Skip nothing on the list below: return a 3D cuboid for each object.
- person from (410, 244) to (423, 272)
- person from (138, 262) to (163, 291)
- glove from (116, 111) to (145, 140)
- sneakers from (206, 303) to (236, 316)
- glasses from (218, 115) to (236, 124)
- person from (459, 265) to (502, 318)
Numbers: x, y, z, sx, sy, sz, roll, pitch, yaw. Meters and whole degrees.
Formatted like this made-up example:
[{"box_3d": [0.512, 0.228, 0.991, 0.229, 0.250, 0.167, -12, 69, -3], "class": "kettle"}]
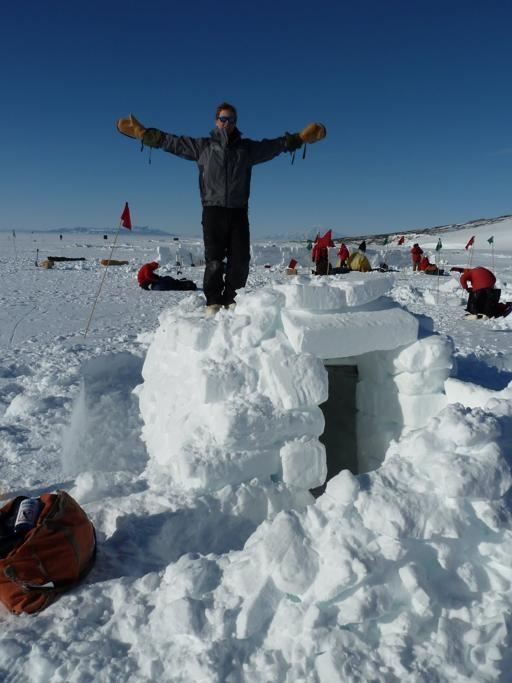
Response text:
[{"box_3d": [5.561, -2.905, 17.840, 0.287, 0.893, 1.151, 3, 12, 19], "class": "person"}, {"box_3d": [-2.249, -1.339, 10.705, 0.604, 0.751, 0.660, 3, 3, -16], "class": "person"}, {"box_3d": [-0.896, -1.559, 3.722, 0.188, 0.171, 0.277, -3, 12, -11], "class": "glove"}, {"box_3d": [-0.253, -0.238, 3.757, 0.199, 0.068, 0.117, -8, 14, -23], "class": "sneakers"}, {"box_3d": [-0.209, -1.602, 3.755, 0.123, 0.052, 0.062, -2, 11, -7], "class": "glasses"}, {"box_3d": [3.725, -0.831, 8.575, 0.562, 1.017, 0.485, 4, -20, 13], "class": "person"}]
